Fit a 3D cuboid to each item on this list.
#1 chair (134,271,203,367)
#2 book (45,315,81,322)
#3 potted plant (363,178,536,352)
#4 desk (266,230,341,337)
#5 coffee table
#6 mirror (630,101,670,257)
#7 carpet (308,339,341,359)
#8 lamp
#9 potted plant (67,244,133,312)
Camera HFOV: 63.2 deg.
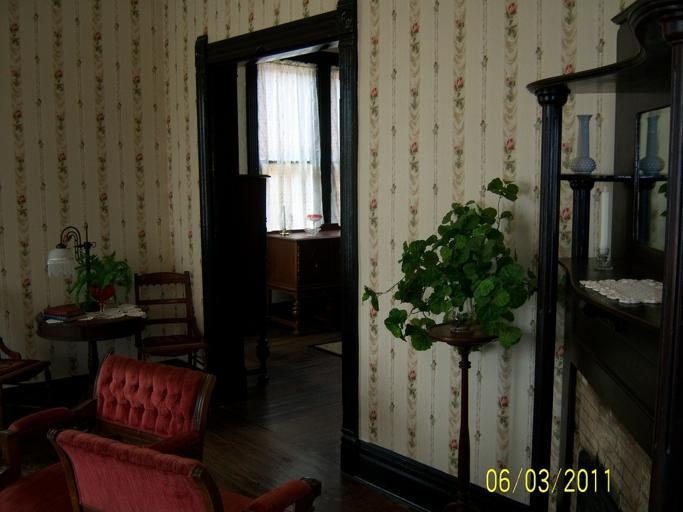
[{"bbox_3d":[-1.501,0.675,4.701,0.578,1.068,0.586,-1,0,-42],"label":"chair"},{"bbox_3d":[-2.177,0.475,4.236,0.253,0.049,0.097,1,9,-1],"label":"book"},{"bbox_3d":[0.574,0.104,2.788,0.725,0.961,0.504,0,-19,37],"label":"potted plant"},{"bbox_3d":[-0.463,0.310,6.722,0.989,1.273,0.647,-5,7,-43],"label":"desk"},{"bbox_3d":[-2.039,0.810,4.458,0.833,0.729,0.851,-5,12,-36],"label":"coffee table"},{"bbox_3d":[1.211,-0.299,2.166,0.075,0.541,0.274,3,8,15],"label":"mirror"},{"bbox_3d":[-0.183,1.016,6.108,0.347,0.032,0.608,0,9,-6],"label":"carpet"},{"bbox_3d":[-2.193,0.094,4.484,0.350,0.643,0.756,-3,9,-27],"label":"lamp"},{"bbox_3d":[-1.989,0.176,4.610,0.382,0.468,0.522,1,-2,9],"label":"potted plant"}]
